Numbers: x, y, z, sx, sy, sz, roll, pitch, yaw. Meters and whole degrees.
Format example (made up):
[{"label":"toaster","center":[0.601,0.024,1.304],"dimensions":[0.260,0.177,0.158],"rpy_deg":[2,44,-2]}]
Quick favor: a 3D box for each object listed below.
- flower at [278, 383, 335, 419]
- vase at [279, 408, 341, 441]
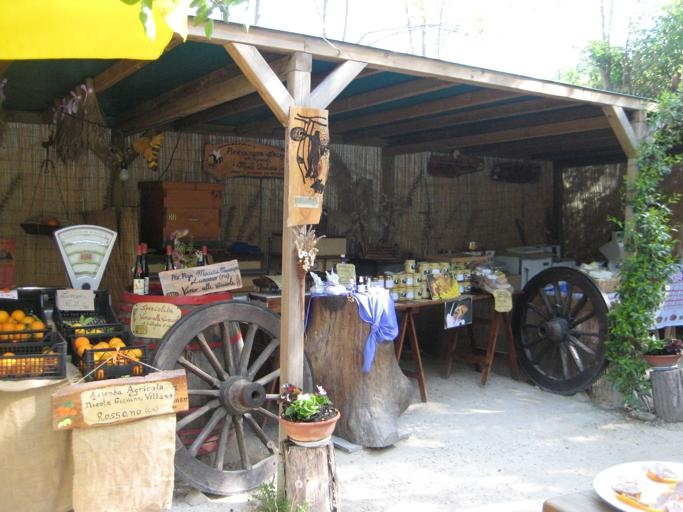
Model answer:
[{"label":"flower","center":[-0.273,1.139,4.495],"dimensions":[0.495,0.246,0.469],"rpy_deg":[4,10,-16]},{"label":"vase","center":[-0.236,1.299,4.383],"dimensions":[0.442,0.213,0.199],"rpy_deg":[0,8,-5]}]
